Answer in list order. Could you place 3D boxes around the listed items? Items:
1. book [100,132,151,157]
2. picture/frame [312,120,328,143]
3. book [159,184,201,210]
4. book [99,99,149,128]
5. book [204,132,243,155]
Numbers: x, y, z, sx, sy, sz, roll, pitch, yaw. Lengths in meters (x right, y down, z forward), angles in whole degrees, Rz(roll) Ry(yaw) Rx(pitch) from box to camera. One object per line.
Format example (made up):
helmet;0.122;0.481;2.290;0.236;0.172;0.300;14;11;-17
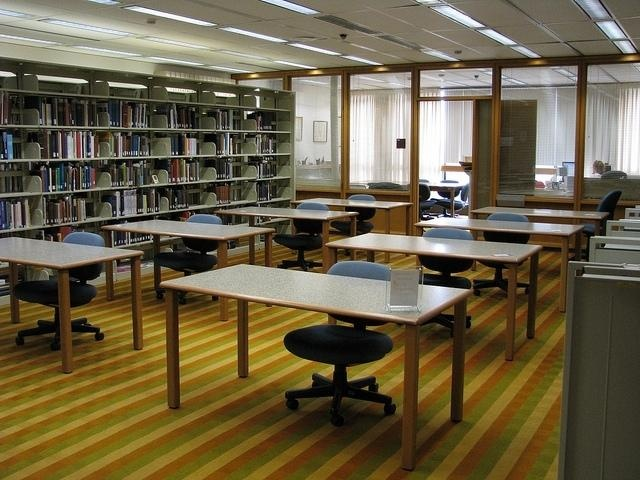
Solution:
book;-2.995;-1.437;7.626;0.356;0.369;0.829;5;12;21
picture/frame;0.008;-2.479;11.601;0.422;0.483;0.067;11;18;41
book;-2.361;-0.721;8.394;0.258;0.209;0.605;6;10;34
book;-2.959;-1.894;7.606;0.258;0.410;0.809;7;13;28
book;-1.770;-1.725;9.083;0.285;0.196;0.641;7;10;24
